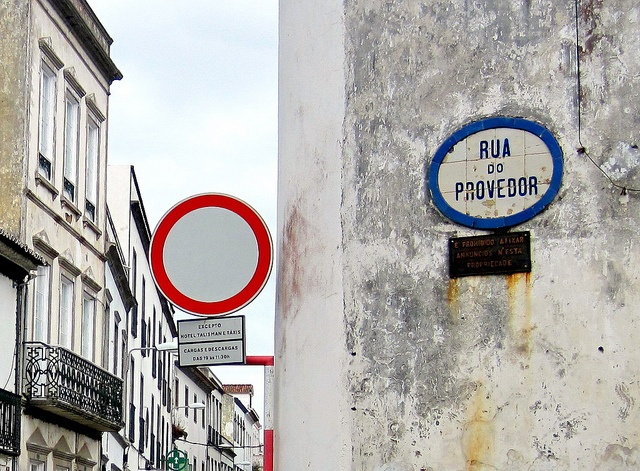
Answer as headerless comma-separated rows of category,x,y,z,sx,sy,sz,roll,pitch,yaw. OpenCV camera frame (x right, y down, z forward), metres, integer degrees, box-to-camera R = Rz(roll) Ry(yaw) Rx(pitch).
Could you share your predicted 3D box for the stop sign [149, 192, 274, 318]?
stop sign,-0.925,0.190,12.042,0.822,1.011,0.036,4,-5,7
